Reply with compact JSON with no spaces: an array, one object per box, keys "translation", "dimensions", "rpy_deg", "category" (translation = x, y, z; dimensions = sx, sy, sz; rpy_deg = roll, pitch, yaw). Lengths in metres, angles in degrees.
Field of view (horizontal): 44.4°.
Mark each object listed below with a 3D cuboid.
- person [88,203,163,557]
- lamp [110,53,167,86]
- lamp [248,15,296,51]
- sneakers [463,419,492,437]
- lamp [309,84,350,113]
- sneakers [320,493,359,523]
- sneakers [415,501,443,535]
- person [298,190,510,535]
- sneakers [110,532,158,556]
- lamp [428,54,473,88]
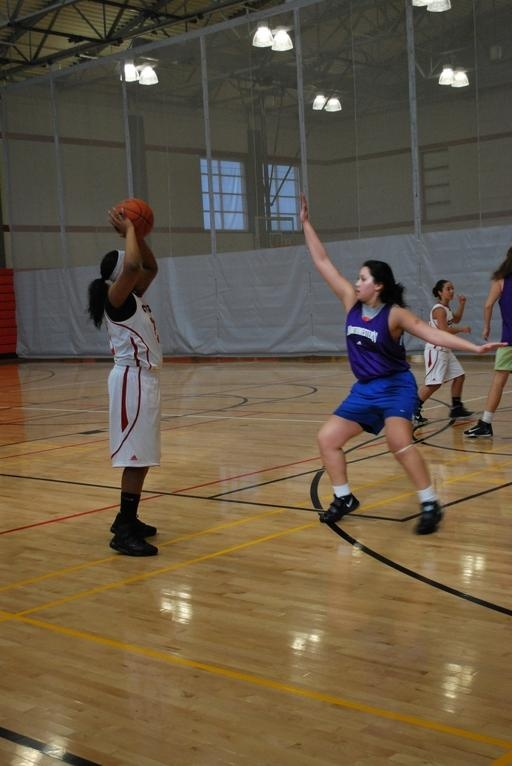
[{"translation":[-0.539,-0.037,2.751],"dimensions":[0.344,1.335,0.527],"rpy_deg":[-6,2,-14],"category":"person"},{"translation":[-2.919,-7.987,15.957],"dimensions":[1.166,0.518,0.498],"rpy_deg":[12,16,34],"category":"lamp"},{"translation":[0.355,-7.642,13.967],"dimensions":[0.984,0.467,0.393],"rpy_deg":[-4,2,26],"category":"lamp"},{"translation":[1.781,0.371,5.095],"dimensions":[0.237,0.145,0.118],"rpy_deg":[3,3,12],"category":"sneakers"},{"translation":[1.560,-6.305,13.709],"dimensions":[0.874,0.502,0.459],"rpy_deg":[1,-1,13],"category":"lamp"},{"translation":[0.416,0.626,3.177],"dimensions":[0.259,0.106,0.084],"rpy_deg":[-15,3,-42],"category":"sneakers"},{"translation":[0.789,0.620,2.903],"dimensions":[0.075,0.092,0.223],"rpy_deg":[-16,0,29],"category":"sneakers"},{"translation":[0.654,0.045,2.982],"dimensions":[0.758,0.948,0.335],"rpy_deg":[-3,3,36],"category":"person"},{"translation":[-0.534,0.715,2.794],"dimensions":[0.237,0.104,0.091],"rpy_deg":[2,6,18],"category":"sneakers"},{"translation":[3.904,-6.174,12.714],"dimensions":[0.701,0.451,0.676],"rpy_deg":[0,-1,14],"category":"lamp"}]
